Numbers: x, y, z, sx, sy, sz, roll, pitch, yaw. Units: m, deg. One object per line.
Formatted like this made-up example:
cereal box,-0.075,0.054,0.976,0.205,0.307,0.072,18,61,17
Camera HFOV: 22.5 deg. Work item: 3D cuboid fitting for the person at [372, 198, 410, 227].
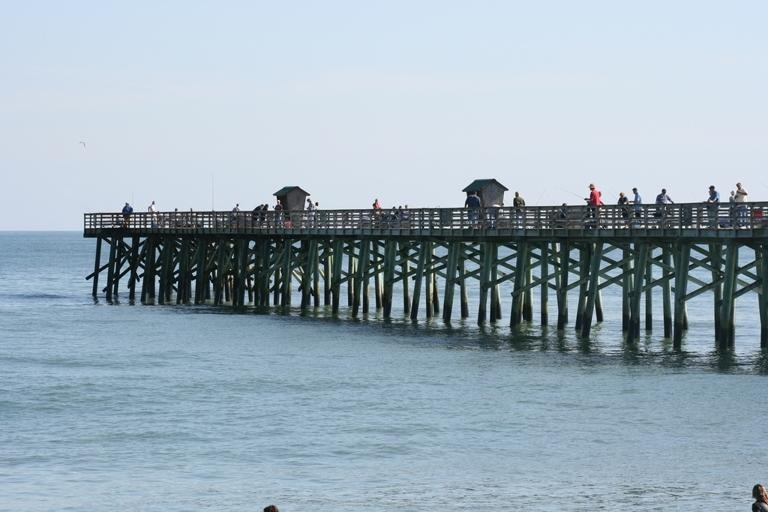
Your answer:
person,0.414,-1.834,86.537,1.084,0.971,2.574,1,-1,-19
